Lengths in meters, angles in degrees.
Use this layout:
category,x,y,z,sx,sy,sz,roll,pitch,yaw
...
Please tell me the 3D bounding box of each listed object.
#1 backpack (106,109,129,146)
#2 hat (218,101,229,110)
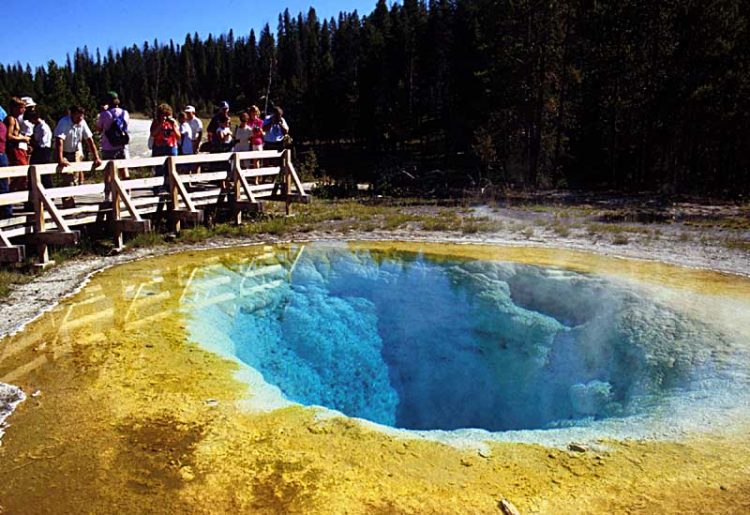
category,x,y,z,sx,sy,sz,roll,pitch,yaw
backpack,-6.364,-3.197,12.833,0.399,0.762,0.538,22,32,12
hat,-4.372,-4.443,15.248,0.301,0.169,0.247,-13,24,-42
